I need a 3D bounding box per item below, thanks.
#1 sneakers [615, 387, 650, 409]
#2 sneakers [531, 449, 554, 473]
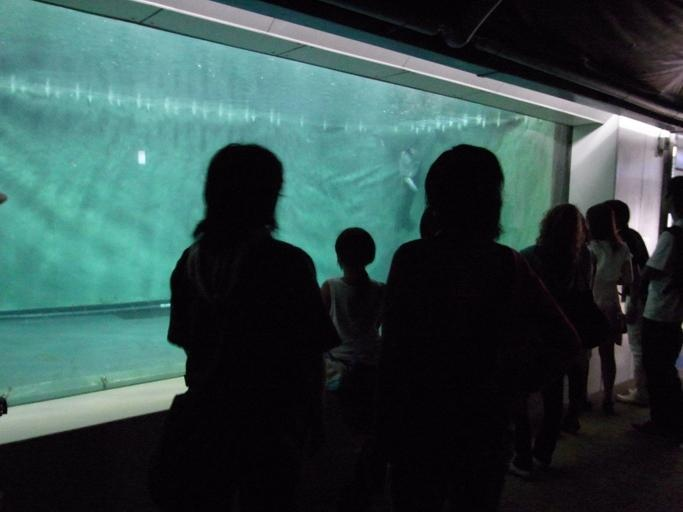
[{"bbox_3d":[3.173,1.529,5.407,0.244,0.086,0.166,1,-5,34],"label":"sneakers"},{"bbox_3d":[1.639,1.648,4.066,0.196,0.190,0.142,1,0,8],"label":"sneakers"}]
